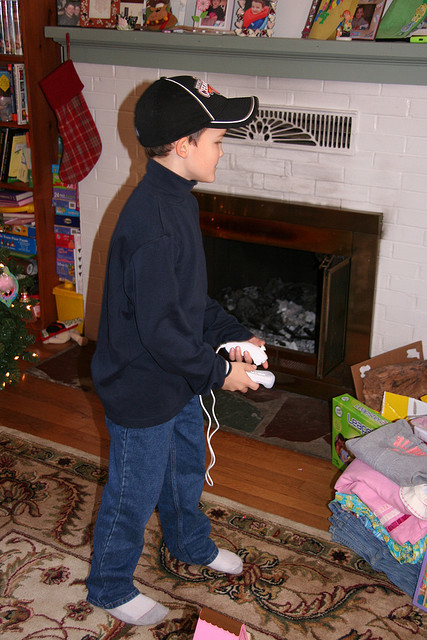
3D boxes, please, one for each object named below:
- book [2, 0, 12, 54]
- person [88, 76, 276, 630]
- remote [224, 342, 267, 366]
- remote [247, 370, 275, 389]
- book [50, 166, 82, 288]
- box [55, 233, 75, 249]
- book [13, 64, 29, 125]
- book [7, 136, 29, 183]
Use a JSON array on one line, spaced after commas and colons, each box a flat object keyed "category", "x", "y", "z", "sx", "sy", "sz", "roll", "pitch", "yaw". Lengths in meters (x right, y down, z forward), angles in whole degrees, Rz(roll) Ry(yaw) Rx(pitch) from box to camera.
[{"category": "book", "x": -1.143, "y": -1.631, "z": 2.632, "sx": 0.035, "sy": 0.188, "sz": 0.170, "roll": -8, "pitch": 36, "yaw": -13}, {"category": "person", "x": -0.063, "y": 0.182, "z": 1.071, "sx": 0.378, "sy": 1.297, "sz": 0.489, "roll": 6, "pitch": 15, "yaw": 7}, {"category": "remote", "x": 0.078, "y": 0.079, "z": 1.134, "sx": 0.094, "sy": 0.048, "sz": 0.023, "roll": 29, "pitch": -1, "yaw": 6}, {"category": "remote", "x": 0.115, "y": 0.137, "z": 1.083, "sx": 0.028, "sy": 0.027, "sz": 0.091, "roll": -9, "pitch": -24, "yaw": 44}, {"category": "book", "x": -0.938, "y": -0.579, "z": 3.017, "sx": 0.121, "sy": 0.748, "sz": 0.274, "roll": -9, "pitch": 19, "yaw": -38}, {"category": "box", "x": -0.948, "y": -0.508, "z": 3.052, "sx": 0.091, "sy": 0.057, "sz": 0.048, "roll": 17, "pitch": 23, "yaw": 15}, {"category": "book", "x": -1.097, "y": -1.300, "z": 2.749, "sx": 0.074, "sy": 0.320, "sz": 0.126, "roll": -10, "pitch": 20, "yaw": -42}, {"category": "book", "x": -1.194, "y": -0.994, "z": 2.916, "sx": 0.049, "sy": 0.197, "sz": 0.199, "roll": 11, "pitch": 12, "yaw": 11}]
